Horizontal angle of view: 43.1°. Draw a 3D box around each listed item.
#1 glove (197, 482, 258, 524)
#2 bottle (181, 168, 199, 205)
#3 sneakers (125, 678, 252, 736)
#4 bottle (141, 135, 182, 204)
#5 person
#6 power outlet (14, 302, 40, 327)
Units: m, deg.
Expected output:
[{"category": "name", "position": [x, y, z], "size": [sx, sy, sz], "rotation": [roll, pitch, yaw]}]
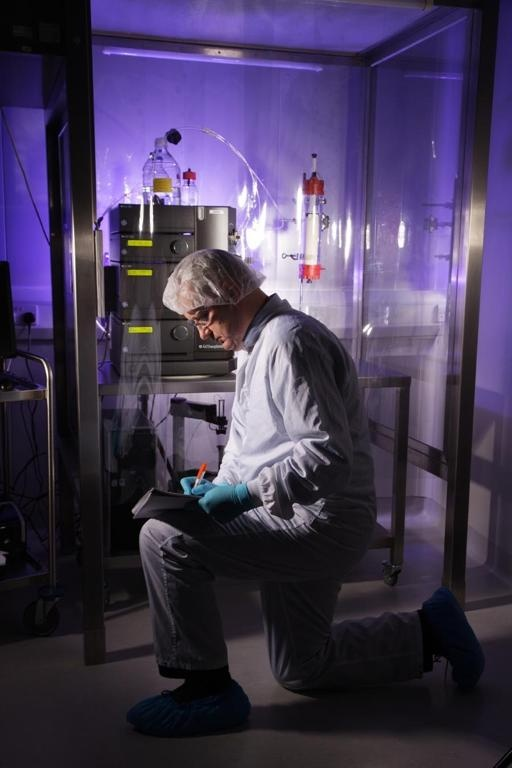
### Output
[{"category": "glove", "position": [-0.058, 0.247, 1.393], "size": [0.073, 0.054, 0.103], "rotation": [-5, -4, 25]}, {"category": "bottle", "position": [-0.190, -0.568, 1.878], "size": [0.050, 0.122, 0.162], "rotation": [0, 7, -5]}, {"category": "sneakers", "position": [-0.151, 0.706, 1.491], "size": [0.198, 0.088, 0.131], "rotation": [3, -5, -15]}, {"category": "bottle", "position": [-0.263, -0.613, 1.837], "size": [0.125, 0.219, 0.114], "rotation": [-2, 7, -20]}, {"category": "person", "position": [0.113, 0.234, 1.540], "size": [0.734, 1.091, 0.483], "rotation": [2, 6, 16]}, {"category": "power outlet", "position": [-0.888, -0.275, 2.505], "size": [0.084, 0.098, 0.162], "rotation": [2, 14, -10]}]
